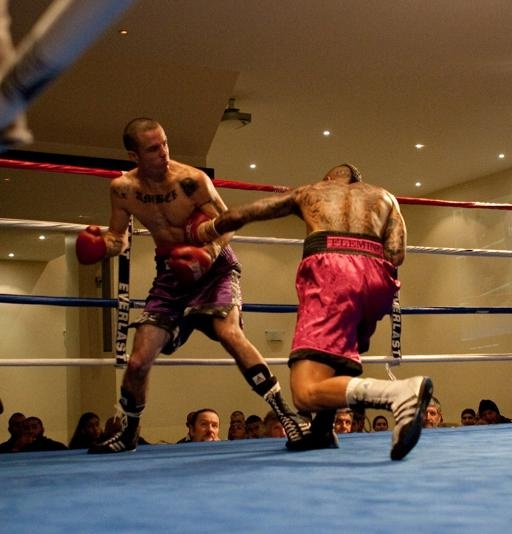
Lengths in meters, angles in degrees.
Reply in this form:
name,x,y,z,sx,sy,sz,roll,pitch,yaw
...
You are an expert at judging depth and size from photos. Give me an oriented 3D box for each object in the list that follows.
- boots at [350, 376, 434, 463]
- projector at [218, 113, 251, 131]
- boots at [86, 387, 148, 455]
name,x,y,z,sx,sy,sz,roll,pitch,yaw
boots,0.337,0.335,1.122,0.285,0.158,0.089,0,-15,-35
projector,-0.234,-1.588,5.584,0.280,0.117,0.341,1,-9,-9
boots,-0.487,0.552,1.848,0.173,0.232,0.086,11,-10,-44
